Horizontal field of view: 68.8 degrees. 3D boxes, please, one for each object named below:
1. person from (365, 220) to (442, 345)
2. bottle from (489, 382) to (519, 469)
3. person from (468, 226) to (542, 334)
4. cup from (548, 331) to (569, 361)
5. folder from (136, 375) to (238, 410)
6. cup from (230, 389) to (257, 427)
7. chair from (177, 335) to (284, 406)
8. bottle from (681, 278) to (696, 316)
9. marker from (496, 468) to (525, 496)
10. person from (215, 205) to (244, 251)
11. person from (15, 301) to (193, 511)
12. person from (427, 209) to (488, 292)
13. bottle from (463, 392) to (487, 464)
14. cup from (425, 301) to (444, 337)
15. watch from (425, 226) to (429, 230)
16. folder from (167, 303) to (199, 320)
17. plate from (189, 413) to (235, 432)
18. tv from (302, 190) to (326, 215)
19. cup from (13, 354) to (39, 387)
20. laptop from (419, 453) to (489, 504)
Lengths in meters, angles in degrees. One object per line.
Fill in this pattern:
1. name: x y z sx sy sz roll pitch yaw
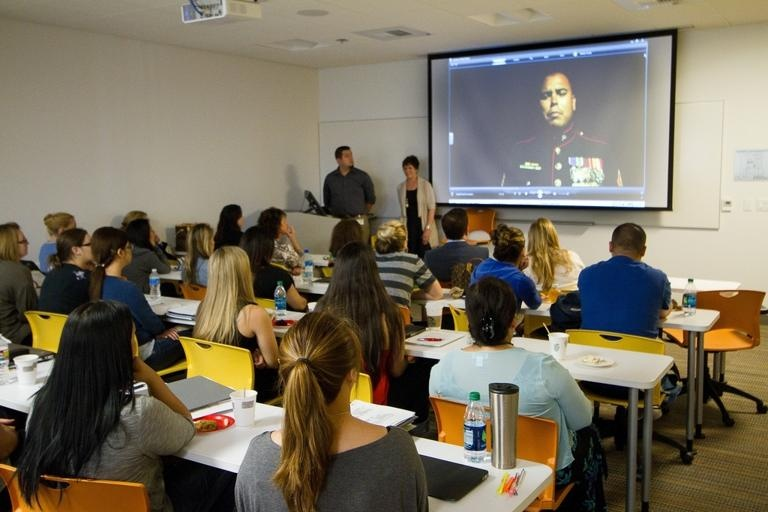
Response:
1. person: 0.163 0.346 4.774 0.644 1.171 0.667 7 9 35
2. bottle: 0.493 0.696 2.312 0.120 0.346 0.097 -1 7 0
3. person: 0.998 0.197 4.502 0.586 0.946 0.534 15 30 26
4. cup: 1.042 0.544 3.402 0.138 0.143 0.142 -1 2 0
5. folder: -0.979 0.682 2.792 0.222 0.026 0.256 7 9 31
6. cup: -0.661 0.720 2.649 0.134 0.143 0.135 -1 -1 0
7. chair: -0.990 0.663 3.653 0.607 0.424 0.517 4 7 27
8. bottle: 2.364 0.313 4.330 0.100 0.267 0.102 2 -3 0
9. marker: 0.501 0.890 2.215 0.048 0.022 0.153 1 10 26
10. person: -1.714 -0.307 6.155 0.298 0.481 1.006 -3 8 -17
11. person: -1.249 0.682 2.515 0.526 0.879 0.548 15 31 2
12. person: 0.710 0.050 5.543 0.682 0.982 0.532 -2 -3 4
13. bottle: 0.384 0.701 2.337 0.101 0.307 0.090 0 7 2
14. cup: 0.369 0.456 4.359 0.170 0.251 0.178 -1 -5 0
15. watch: 0.677 -0.437 8.839 0.046 0.050 0.051 0 3 19
16. folder: -1.555 0.432 4.406 0.170 0.042 0.174 6 8 24
17. plate: -0.794 0.772 2.602 0.117 0.020 0.095 4 12 11
18. tv: -1.169 -0.869 9.197 0.256 0.472 0.461 -17 15 -15
19. cup: -1.940 0.625 3.111 0.150 0.165 0.148 -1 0 0
20. laptop: 0.275 0.876 2.197 0.209 0.009 0.170 6 10 44
